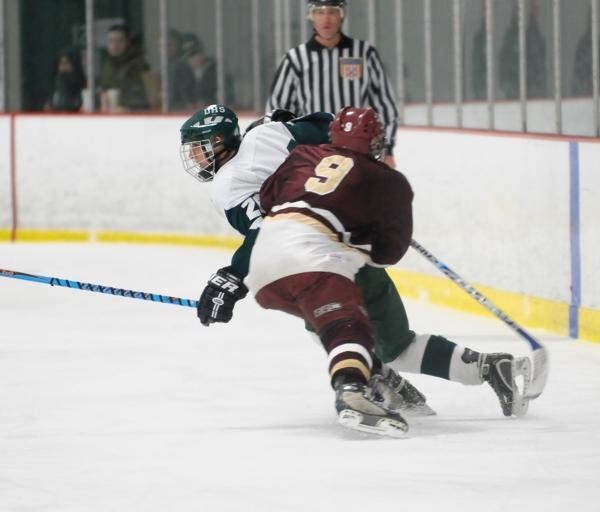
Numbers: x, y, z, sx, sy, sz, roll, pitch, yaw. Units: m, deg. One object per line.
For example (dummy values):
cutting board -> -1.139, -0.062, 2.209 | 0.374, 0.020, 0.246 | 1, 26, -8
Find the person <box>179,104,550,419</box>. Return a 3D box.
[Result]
person -> 0.117, 0.246, 3.833 | 1.419, 0.427, 0.792 | 21, -20, 13

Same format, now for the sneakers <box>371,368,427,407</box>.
sneakers -> 0.344, 0.462, 3.662 | 0.206, 0.088, 0.070 | 36, 22, 1

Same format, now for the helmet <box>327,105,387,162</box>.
helmet -> 0.207, -0.412, 3.552 | 0.176, 0.195, 0.216 | 12, 20, 26

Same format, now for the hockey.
hockey -> 0.849, 0.181, 4.883 | 0.772, 0.084, 0.121 | 39, 13, 34

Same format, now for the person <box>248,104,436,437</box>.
person -> 0.084, 0.096, 3.357 | 0.560, 0.881, 0.482 | -1, 11, 6

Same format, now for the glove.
glove -> -0.268, 0.141, 3.603 | 0.187, 0.221, 0.102 | -1, 11, 4
